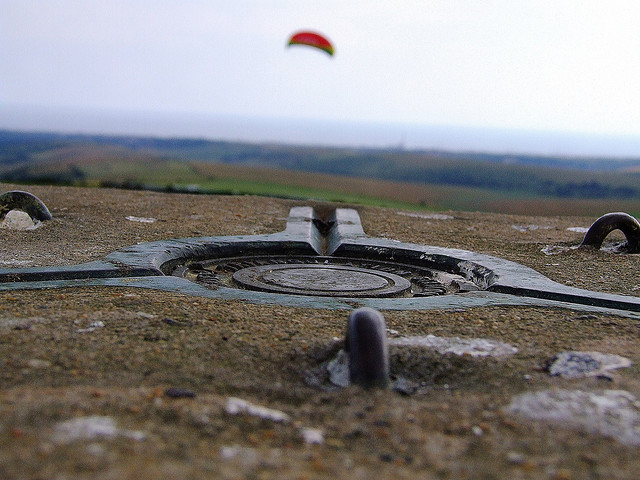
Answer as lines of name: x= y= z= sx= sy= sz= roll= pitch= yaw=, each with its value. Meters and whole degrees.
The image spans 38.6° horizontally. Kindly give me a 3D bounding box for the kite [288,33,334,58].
kite: x=-0.073 y=-1.728 z=8.046 sx=0.311 sy=0.180 sz=0.488 roll=-2 pitch=15 yaw=-13
